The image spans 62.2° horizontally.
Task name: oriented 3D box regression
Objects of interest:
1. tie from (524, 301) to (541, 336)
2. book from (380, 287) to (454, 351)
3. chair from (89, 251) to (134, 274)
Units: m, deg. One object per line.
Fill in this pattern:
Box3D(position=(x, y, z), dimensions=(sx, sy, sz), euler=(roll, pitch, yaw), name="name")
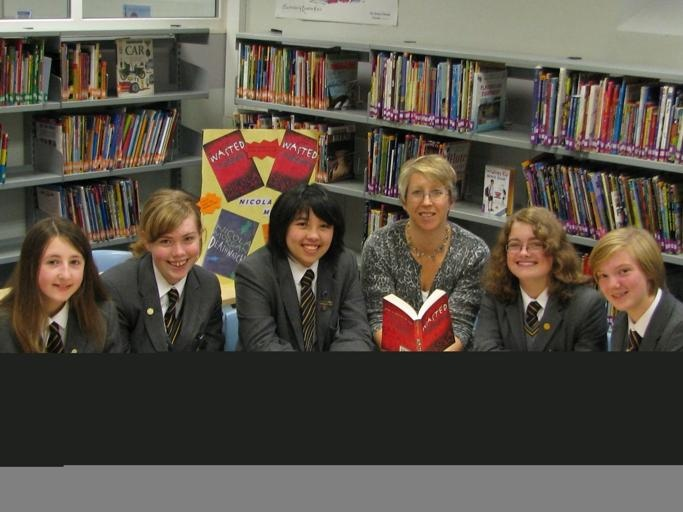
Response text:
Box3D(position=(0.652, 0.214, 1.937), dimensions=(0.025, 0.106, 0.061), euler=(4, 3, -43), name="tie")
Box3D(position=(0.228, 0.189, 1.633), dimensions=(0.224, 0.174, 0.146), euler=(1, -5, -6), name="book")
Box3D(position=(-0.999, 0.012, 2.442), dimensions=(0.168, 0.119, 0.171), euler=(1, 10, 1), name="chair")
